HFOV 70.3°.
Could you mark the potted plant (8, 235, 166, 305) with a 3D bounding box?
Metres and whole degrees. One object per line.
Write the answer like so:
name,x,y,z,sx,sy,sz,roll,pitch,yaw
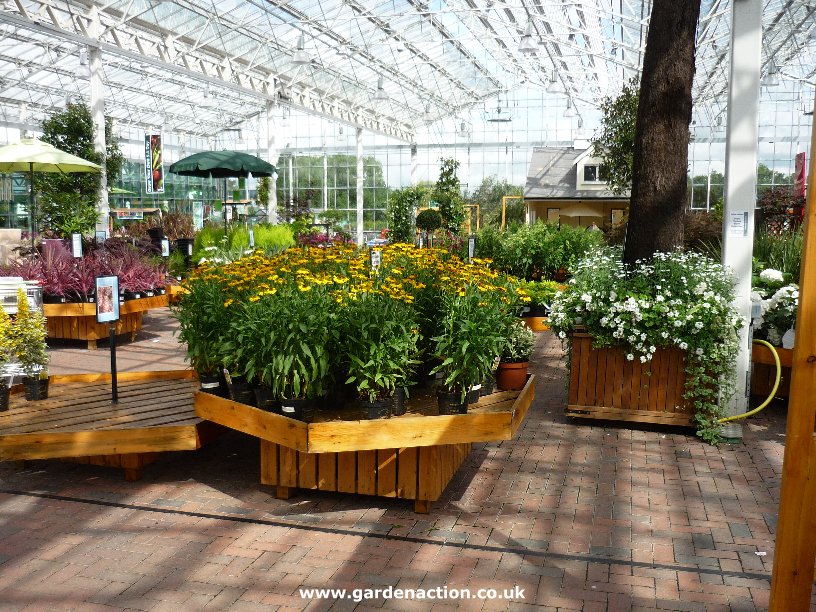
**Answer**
potted plant,-5.561,-0.624,10.181,2.369,0.862,2.875,-3,9,-21
